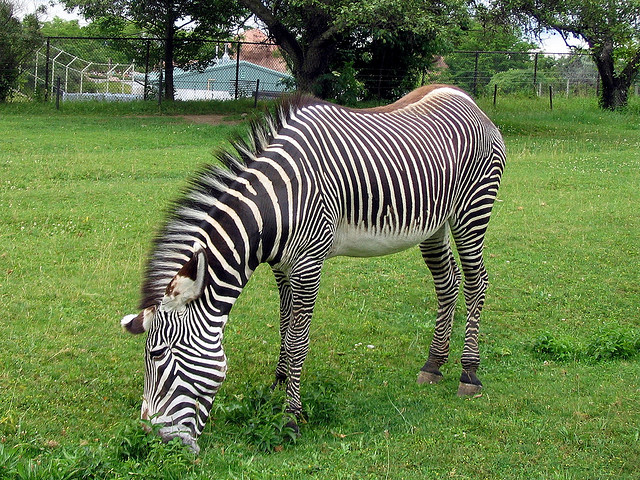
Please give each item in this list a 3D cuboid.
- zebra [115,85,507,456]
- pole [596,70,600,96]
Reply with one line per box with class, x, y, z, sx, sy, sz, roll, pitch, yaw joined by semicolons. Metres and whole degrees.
zebra;-0.072;-0.721;10.082;6.891;5.435;2.161;-16;17;-36
pole;12.900;-7.082;32.886;0.049;0.722;0.556;5;6;27
